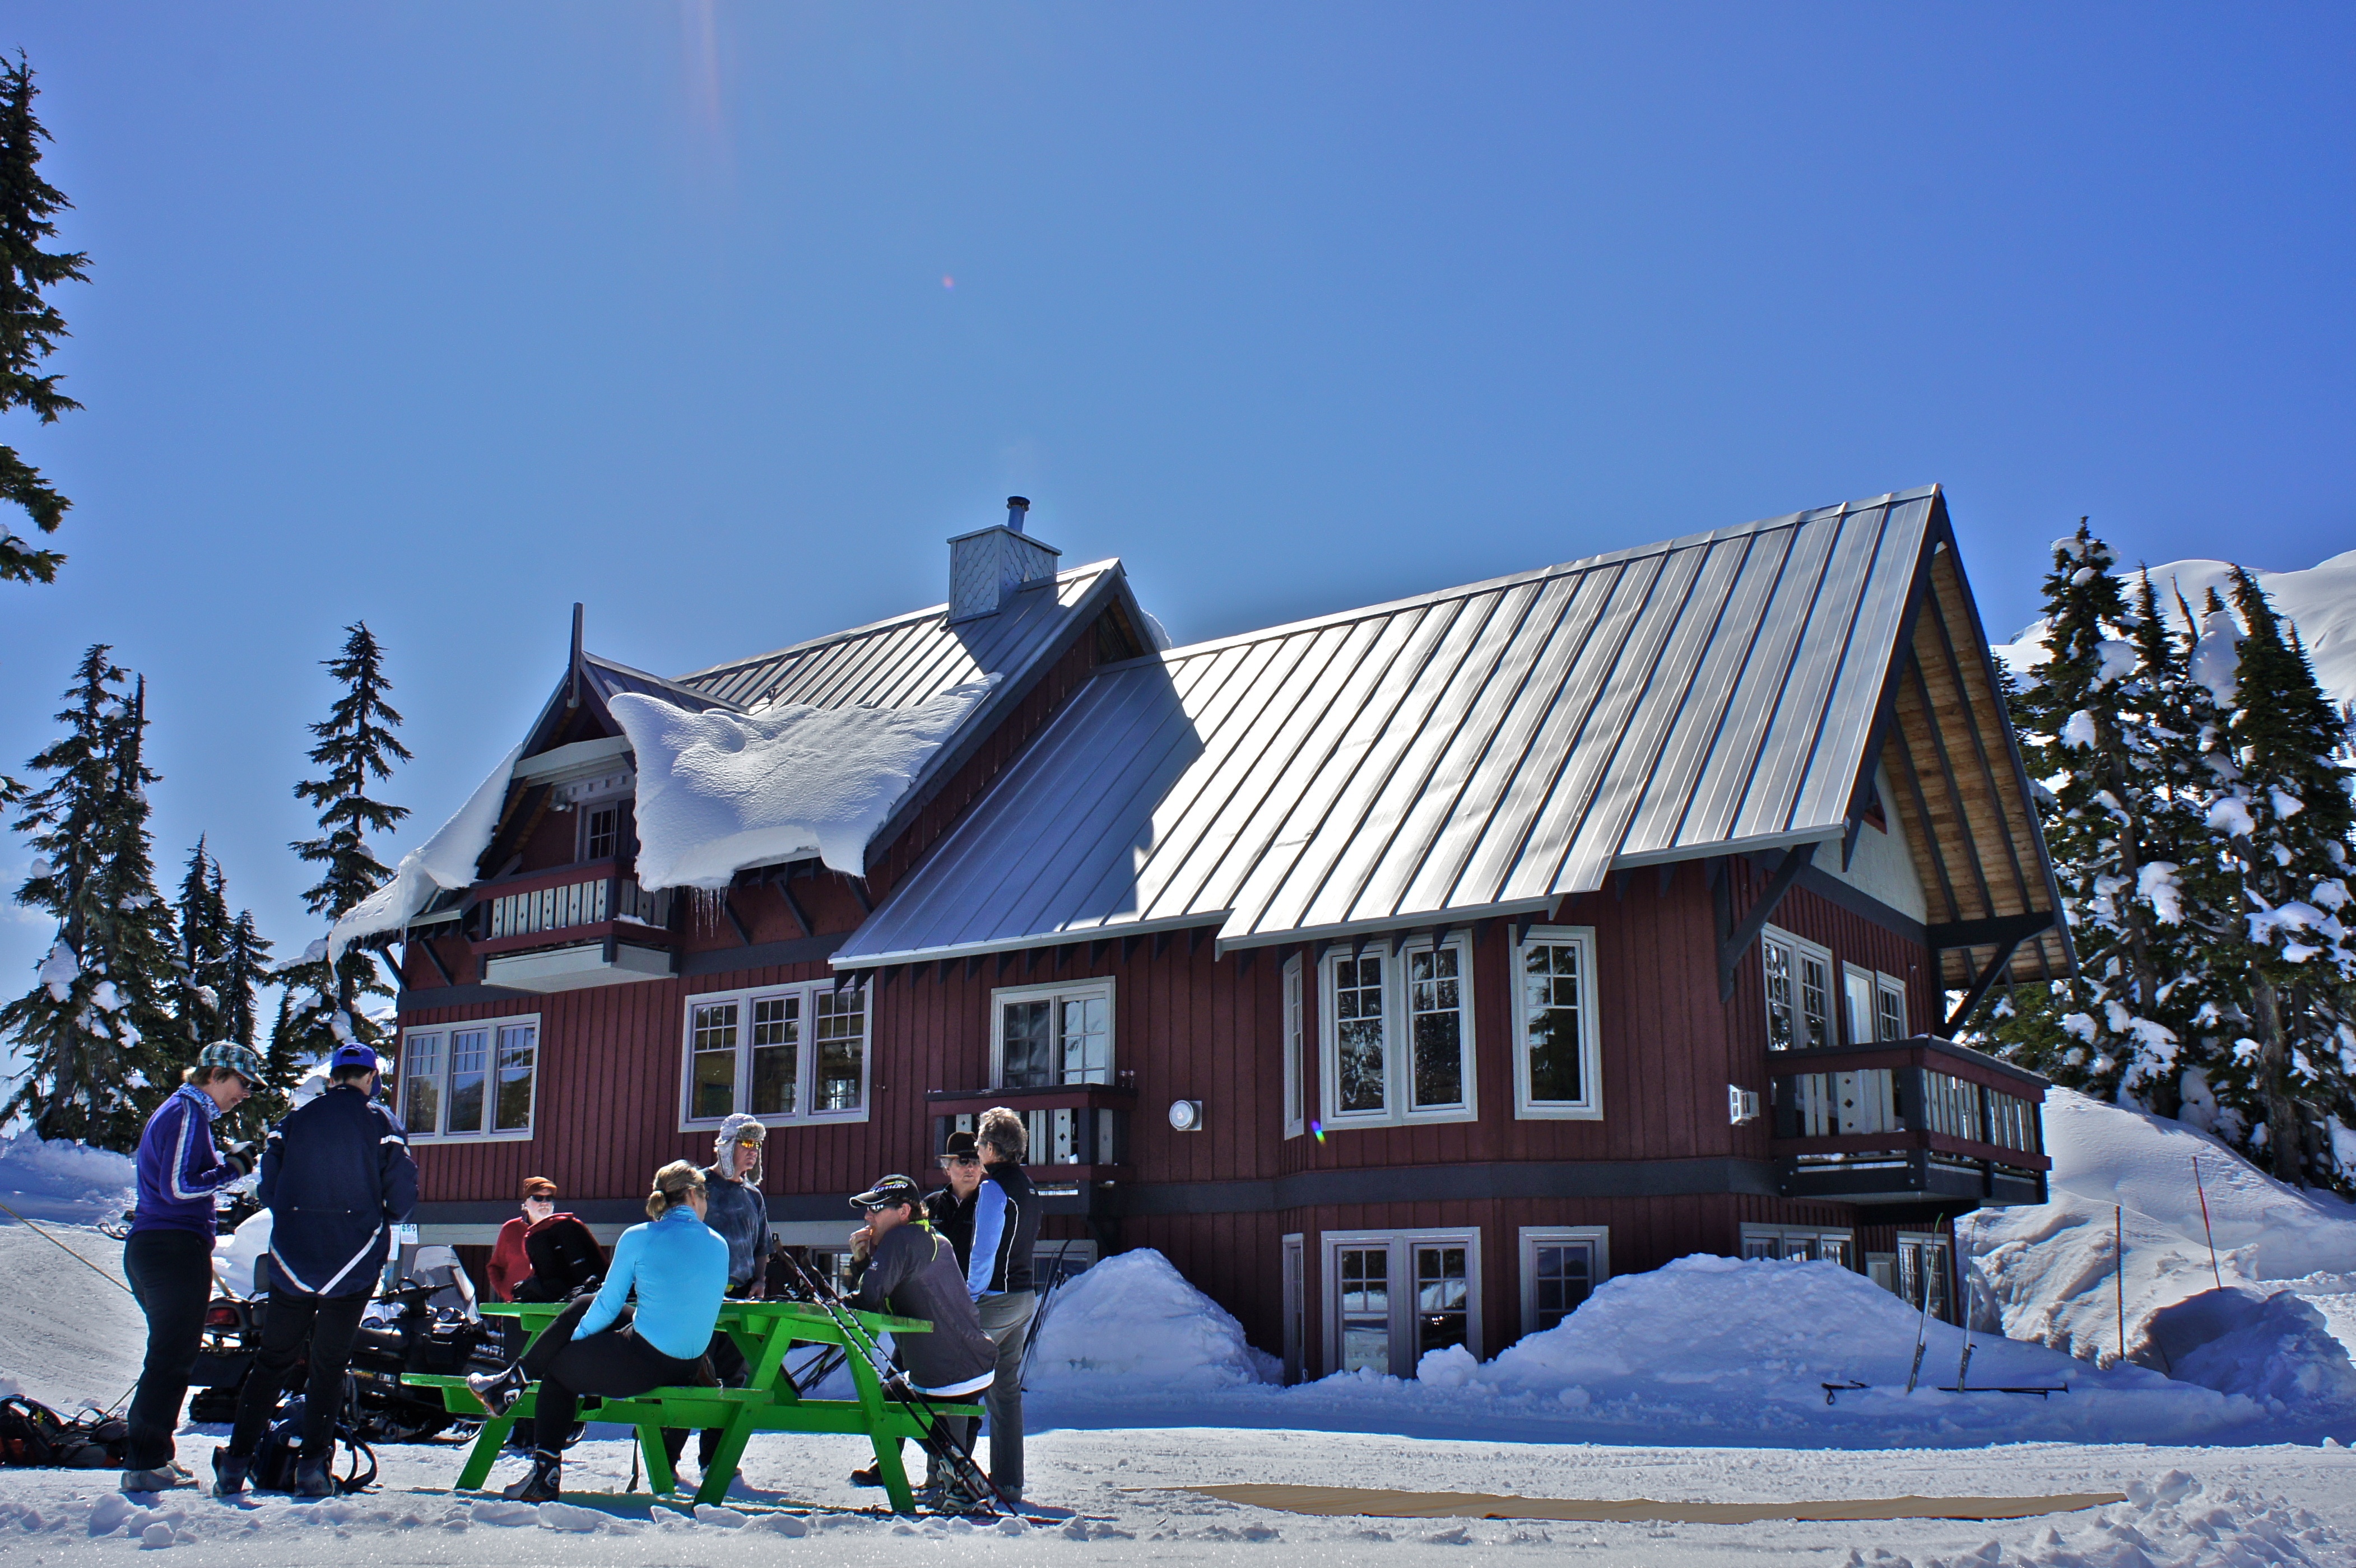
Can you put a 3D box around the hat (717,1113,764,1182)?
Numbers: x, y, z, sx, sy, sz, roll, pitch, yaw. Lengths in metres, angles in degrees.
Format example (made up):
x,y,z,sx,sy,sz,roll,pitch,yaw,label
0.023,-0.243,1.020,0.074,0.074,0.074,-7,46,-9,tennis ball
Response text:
x,y,z,sx,sy,sz,roll,pitch,yaw,label
-3.858,3.180,17.733,0.343,0.700,1.089,2,-21,-8,hat

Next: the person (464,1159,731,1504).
x,y,z,sx,sy,sz,roll,pitch,yaw,label
-4.155,4.079,15.084,1.417,2.433,0.596,3,-20,-11,person

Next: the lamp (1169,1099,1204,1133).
x,y,z,sx,sy,sz,roll,pitch,yaw,label
0.094,4.544,27.781,0.546,0.483,0.376,-8,-21,19,lamp

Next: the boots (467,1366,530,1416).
x,y,z,sx,sy,sz,roll,pitch,yaw,label
-5.100,4.547,15.049,0.422,0.301,0.691,6,-22,-17,boots

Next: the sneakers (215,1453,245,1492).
x,y,z,sx,sy,sz,roll,pitch,yaw,label
-6.965,5.079,14.788,0.197,0.299,0.461,8,-22,-23,sneakers

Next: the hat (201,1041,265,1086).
x,y,z,sx,sy,sz,roll,pitch,yaw,label
-7.401,2.183,15.766,0.338,0.266,0.483,3,-13,2,hat
